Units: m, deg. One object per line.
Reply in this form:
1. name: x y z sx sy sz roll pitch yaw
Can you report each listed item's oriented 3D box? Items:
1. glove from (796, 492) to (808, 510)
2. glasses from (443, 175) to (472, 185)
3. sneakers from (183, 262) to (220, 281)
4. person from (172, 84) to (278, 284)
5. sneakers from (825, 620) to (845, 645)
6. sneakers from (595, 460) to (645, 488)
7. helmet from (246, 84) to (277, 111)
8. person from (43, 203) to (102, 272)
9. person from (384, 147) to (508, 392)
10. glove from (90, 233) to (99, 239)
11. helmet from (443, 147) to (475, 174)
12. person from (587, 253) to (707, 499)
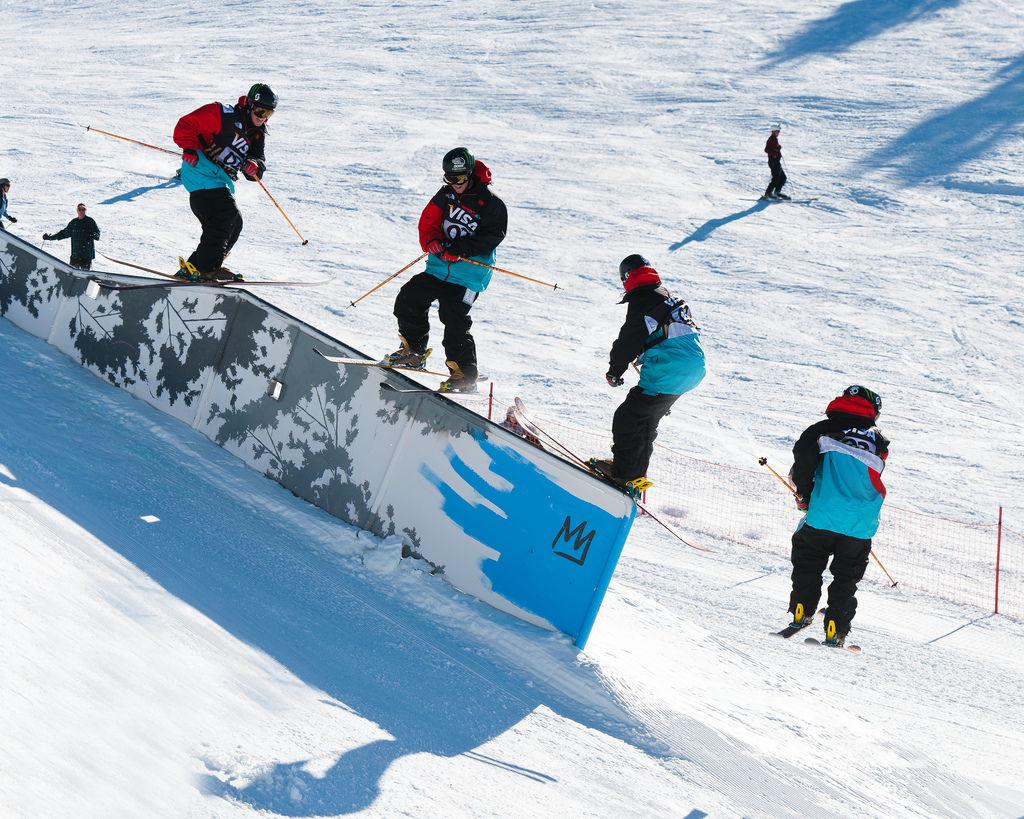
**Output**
1. glove: 2.873 0.908 12.203 0.151 0.132 0.137 1 9 -13
2. glasses: -0.529 -2.270 12.413 0.126 0.047 0.128 -1 33 7
3. sneakers: -3.322 -1.454 13.444 0.441 0.163 0.131 21 4 -13
4. person: -3.128 -2.423 13.331 1.093 1.979 0.543 21 5 -14
5. sneakers: 3.127 2.171 12.160 0.156 0.218 0.180 -15 -15 27
6. sneakers: 1.070 0.656 12.445 0.480 0.125 0.264 21 6 1
7. helmet: -2.609 -3.283 13.180 0.301 0.255 0.288 17 4 -18
8. person: -6.239 -2.524 18.104 1.020 0.828 0.567 21 3 43
9. person: -0.556 -1.352 12.711 1.117 2.382 0.339 22 5 -8
10. glove: -6.046 -2.520 18.158 0.126 0.095 0.023 -1 6 -31
11. helmet: -0.503 -2.446 12.413 0.313 0.261 0.289 18 4 -5
12. person: 1.281 -0.331 12.253 1.094 2.364 0.428 23 4 1
